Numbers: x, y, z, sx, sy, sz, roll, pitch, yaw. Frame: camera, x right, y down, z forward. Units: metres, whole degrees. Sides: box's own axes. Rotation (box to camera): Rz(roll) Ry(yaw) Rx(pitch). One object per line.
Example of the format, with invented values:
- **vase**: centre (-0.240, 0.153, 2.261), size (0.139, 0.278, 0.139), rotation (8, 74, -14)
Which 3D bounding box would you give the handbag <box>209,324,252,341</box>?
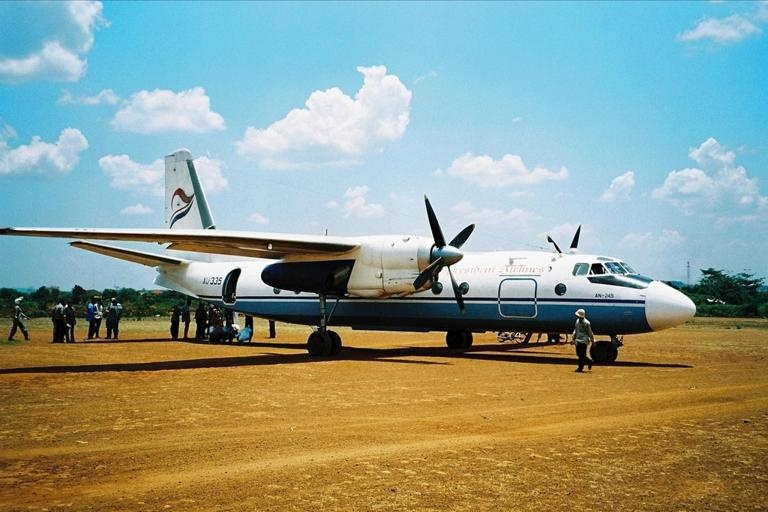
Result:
- **handbag**: centre (-7.171, 3.622, 25.097), size (1.476, 0.455, 0.997), rotation (4, -2, -24)
